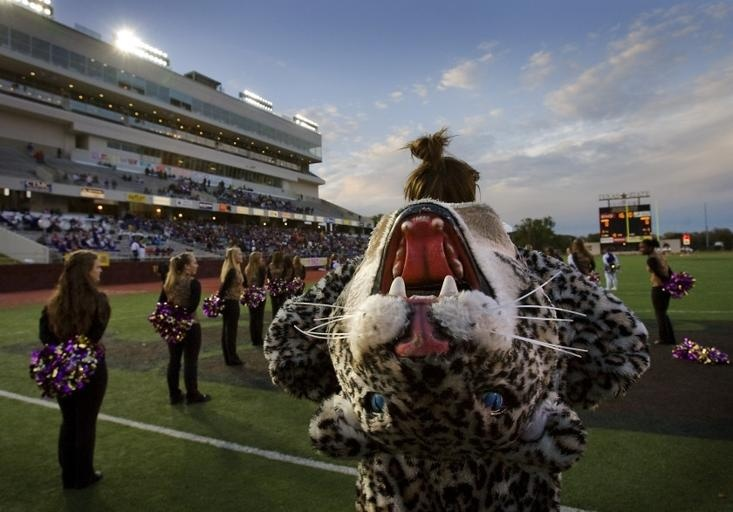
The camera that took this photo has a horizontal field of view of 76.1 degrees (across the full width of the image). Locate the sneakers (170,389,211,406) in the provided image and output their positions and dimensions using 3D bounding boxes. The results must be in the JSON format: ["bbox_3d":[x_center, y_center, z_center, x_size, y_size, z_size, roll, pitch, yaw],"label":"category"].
[{"bbox_3d":[-2.381,1.849,6.388,0.581,0.240,0.194,-5,16,4],"label":"sneakers"}]

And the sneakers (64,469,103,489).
[{"bbox_3d":[-2.872,2.196,4.726,0.341,0.104,0.108,-6,10,-25],"label":"sneakers"}]

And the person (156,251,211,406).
[{"bbox_3d":[-2.581,0.945,6.568,0.552,1.996,1.052,-5,10,-22],"label":"person"}]

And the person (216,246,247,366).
[{"bbox_3d":[-2.345,0.819,8.148,0.442,1.956,1.078,-4,10,-17],"label":"person"}]

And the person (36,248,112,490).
[{"bbox_3d":[-3.065,1.101,4.862,0.648,2.221,0.739,-2,9,-1],"label":"person"}]

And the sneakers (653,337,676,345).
[{"bbox_3d":[5.466,1.497,8.531,0.337,0.111,0.197,4,11,28],"label":"sneakers"}]
